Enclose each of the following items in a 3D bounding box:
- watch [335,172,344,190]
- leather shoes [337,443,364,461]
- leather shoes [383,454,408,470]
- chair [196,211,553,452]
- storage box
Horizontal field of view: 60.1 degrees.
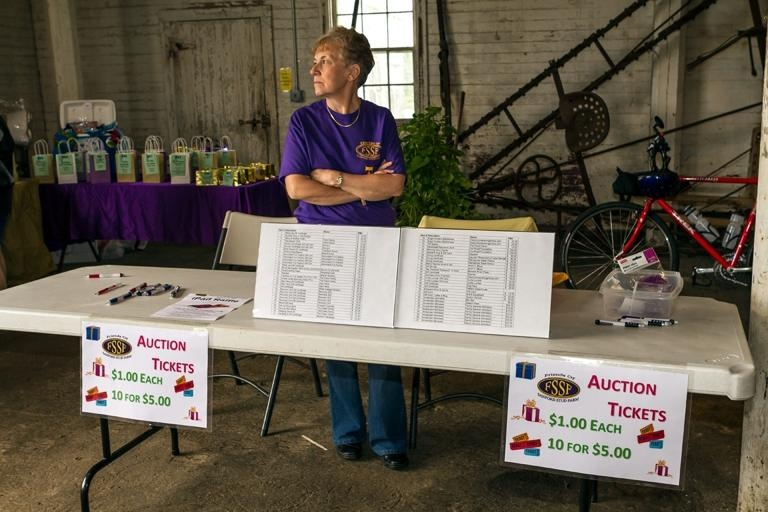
[{"bbox_3d":[-0.237,-0.403,3.553,0.048,0.072,0.066,1,4,8],"label":"watch"},{"bbox_3d":[-0.192,1.117,3.788,0.153,0.062,0.078,5,7,28],"label":"leather shoes"},{"bbox_3d":[0.065,1.153,3.742,0.133,0.051,0.075,2,6,38],"label":"leather shoes"},{"bbox_3d":[-0.053,0.407,3.343,1.382,0.877,0.526,2,17,10],"label":"chair"},{"bbox_3d":[1.193,0.180,3.106,0.261,0.112,0.287,1,11,21],"label":"storage box"}]
